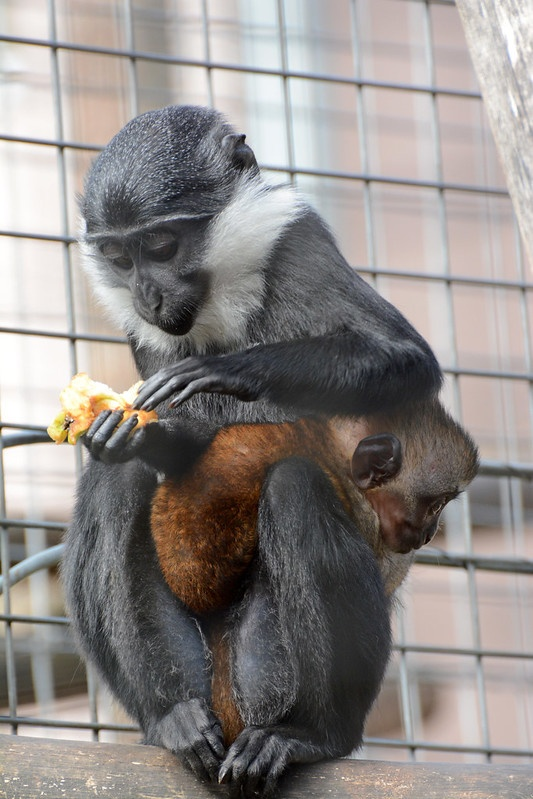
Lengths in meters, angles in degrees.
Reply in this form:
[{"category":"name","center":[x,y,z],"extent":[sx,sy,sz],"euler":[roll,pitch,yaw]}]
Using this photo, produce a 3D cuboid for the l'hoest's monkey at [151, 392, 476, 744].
[{"category":"l'hoest's monkey","center":[0.101,0.489,4.337],"extent":[1.048,0.527,0.998],"euler":[13,57,-22]}]
